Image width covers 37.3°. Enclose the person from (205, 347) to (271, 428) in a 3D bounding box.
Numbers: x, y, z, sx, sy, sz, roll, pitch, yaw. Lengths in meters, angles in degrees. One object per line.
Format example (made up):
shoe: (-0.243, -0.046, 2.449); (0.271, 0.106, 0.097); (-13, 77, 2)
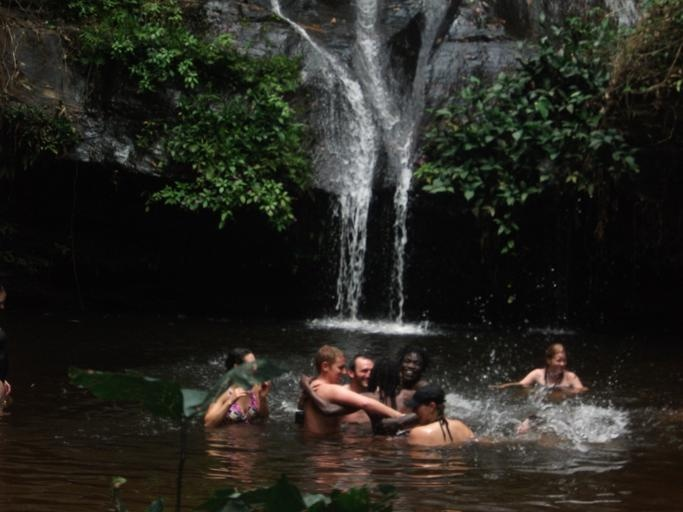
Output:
person: (-1.535, 1.985, 14.631); (1.123, 1.230, 0.729); (-8, 13, -42)
